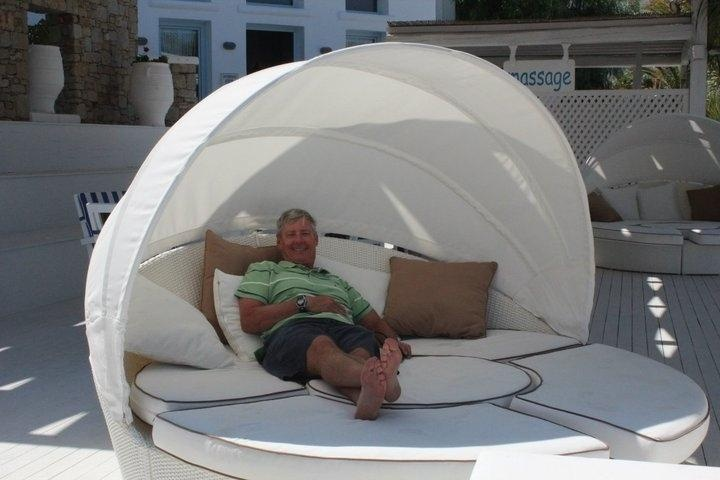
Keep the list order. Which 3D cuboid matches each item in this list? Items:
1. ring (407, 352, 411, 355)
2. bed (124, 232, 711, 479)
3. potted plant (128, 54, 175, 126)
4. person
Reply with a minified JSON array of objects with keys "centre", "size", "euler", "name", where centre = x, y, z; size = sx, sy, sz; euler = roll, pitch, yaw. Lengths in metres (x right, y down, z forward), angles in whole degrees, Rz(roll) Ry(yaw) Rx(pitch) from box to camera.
[{"centre":[0.358,0.829,4.490],"size":[0.018,0.021,0.020],"euler":[6,8,21],"name":"ring"},{"centre":[0.321,0.800,4.194],"size":[3.641,1.165,1.714],"euler":[-1,13,0],"name":"bed"},{"centre":[-3.461,-2.405,10.437],"size":[0.988,1.433,0.876],"euler":[-3,6,-20],"name":"potted plant"},{"centre":[-0.165,0.457,4.446],"size":[1.090,1.244,1.846],"euler":[2,8,-29],"name":"person"}]
